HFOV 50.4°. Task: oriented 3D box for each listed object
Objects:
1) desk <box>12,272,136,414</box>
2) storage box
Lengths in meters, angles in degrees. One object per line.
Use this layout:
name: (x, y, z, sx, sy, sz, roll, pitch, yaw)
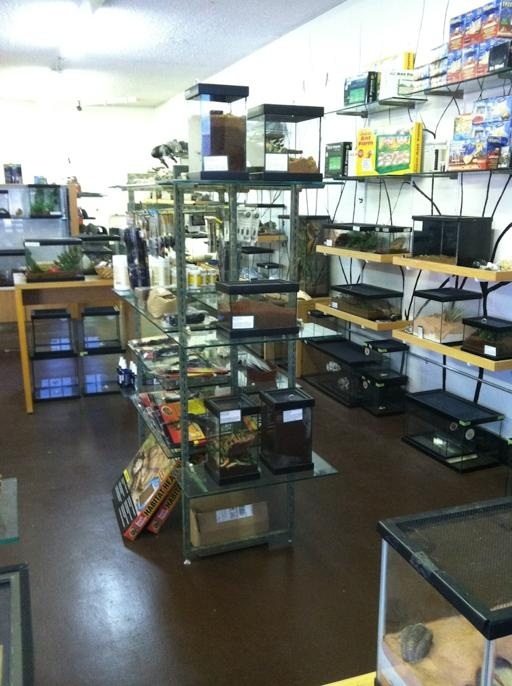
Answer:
desk: (-1.645, 0.025, 4.911, 1.206, 1.062, 0.446, -8, 25, -23)
storage box: (-0.125, 0.882, 2.696, 0.459, 0.228, 0.324, -3, 13, -18)
